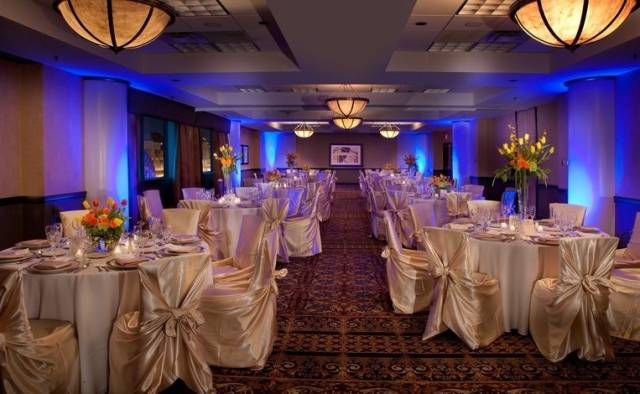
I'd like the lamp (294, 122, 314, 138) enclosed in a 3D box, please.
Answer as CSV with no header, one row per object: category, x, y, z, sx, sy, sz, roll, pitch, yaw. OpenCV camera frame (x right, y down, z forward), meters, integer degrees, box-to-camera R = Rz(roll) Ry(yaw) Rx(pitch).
lamp,-0.782,-3.168,19.525,0.925,0.747,0.933,0,1,0

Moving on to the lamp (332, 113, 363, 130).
lamp,0.894,-2.246,12.175,0.830,0.340,0.846,2,7,21

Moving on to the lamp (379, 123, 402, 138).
lamp,3.394,-3.159,19.756,1.045,0.755,1.064,0,1,13

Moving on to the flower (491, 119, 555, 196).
flower,2.943,-0.481,5.978,0.674,0.921,0.689,-2,3,14

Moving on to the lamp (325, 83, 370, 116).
lamp,0.653,-2.413,10.563,1.216,0.916,1.206,-4,9,-20
